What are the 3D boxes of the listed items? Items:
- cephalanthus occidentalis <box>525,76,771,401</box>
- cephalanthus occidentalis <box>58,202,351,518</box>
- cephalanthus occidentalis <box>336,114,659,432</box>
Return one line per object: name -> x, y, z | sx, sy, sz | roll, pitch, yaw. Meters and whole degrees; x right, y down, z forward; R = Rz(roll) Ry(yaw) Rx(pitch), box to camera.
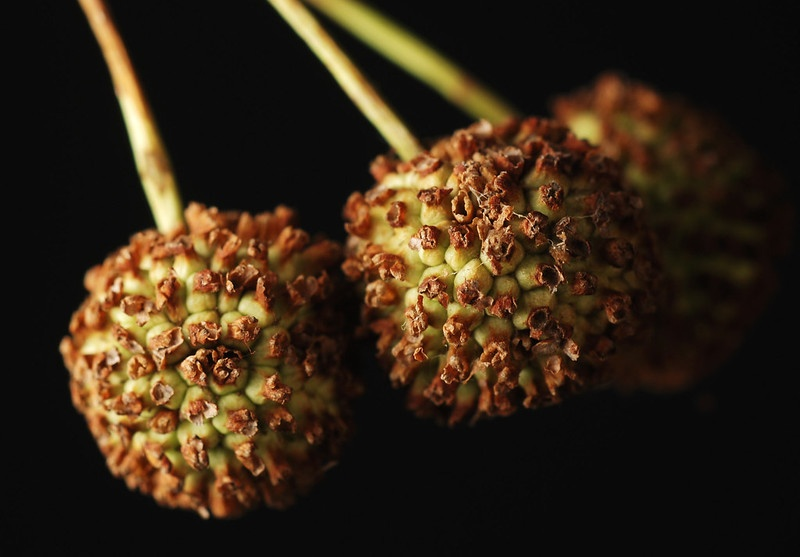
cephalanthus occidentalis -> 0.650, -0.070, 2.126 | 0.524, 0.207, 0.704 | 13, 83, -4
cephalanthus occidentalis -> -0.395, 0.194, 1.811 | 0.623, 0.517, 0.508 | -12, 49, -5
cephalanthus occidentalis -> 0.264, 0.096, 1.889 | 0.650, 0.792, 0.650 | 10, 82, -26
